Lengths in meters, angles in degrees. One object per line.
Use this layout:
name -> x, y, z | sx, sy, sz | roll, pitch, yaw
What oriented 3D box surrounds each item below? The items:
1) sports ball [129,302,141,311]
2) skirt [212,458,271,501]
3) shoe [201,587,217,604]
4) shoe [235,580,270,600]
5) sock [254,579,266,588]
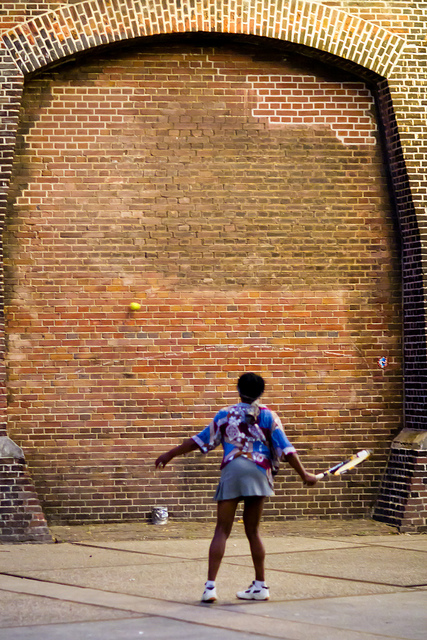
sports ball -> -0.876, -0.148, 9.793 | 0.126, 0.088, 0.091 | -1, 13, -8
skirt -> 0.152, 1.118, 6.136 | 0.392, 0.269, 0.206 | 0, -10, -23
shoe -> -0.032, 1.890, 6.020 | 0.108, 0.151, 0.136 | 1, 13, 0
shoe -> 0.228, 1.930, 6.190 | 0.313, 0.139, 0.091 | 0, -17, 11
sock -> 0.321, 1.851, 6.105 | 0.065, 0.037, 0.050 | 8, -18, -31
